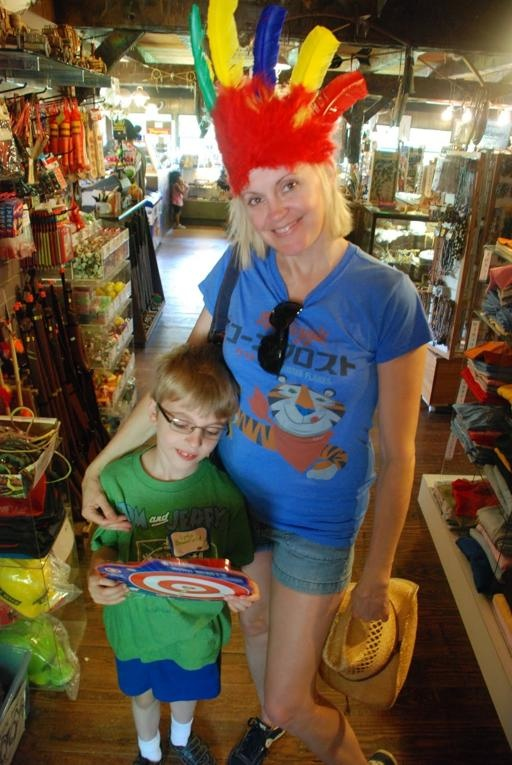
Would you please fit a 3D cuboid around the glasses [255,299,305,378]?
[{"bbox_3d":[0.048,-0.099,1.166,0.072,0.150,0.078,18,28,29],"label":"glasses"}]

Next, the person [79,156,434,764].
[{"bbox_3d":[0.071,0.351,1.360,0.723,1.704,0.493,23,31,36],"label":"person"}]
